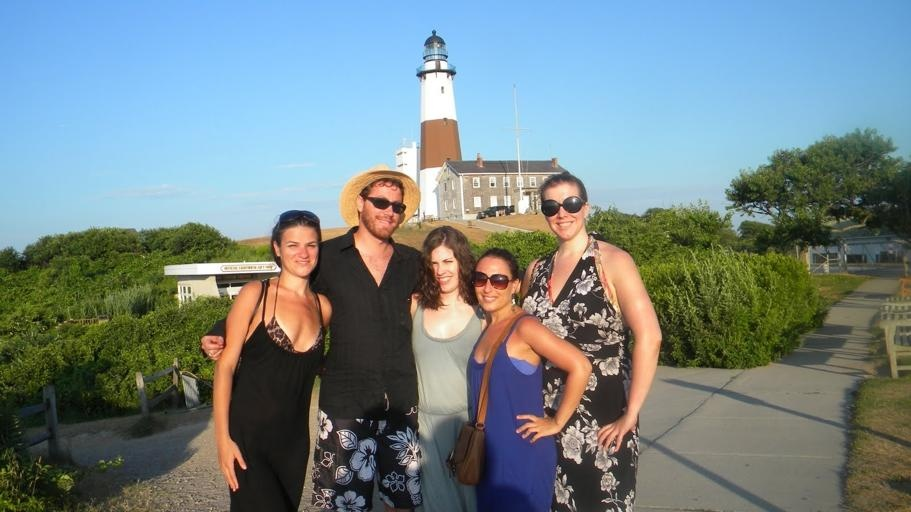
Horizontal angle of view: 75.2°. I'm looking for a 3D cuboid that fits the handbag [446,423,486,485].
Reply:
[{"bbox_3d":[0.192,2.984,9.048,0.467,0.871,0.898,14,-4,-12],"label":"handbag"}]
